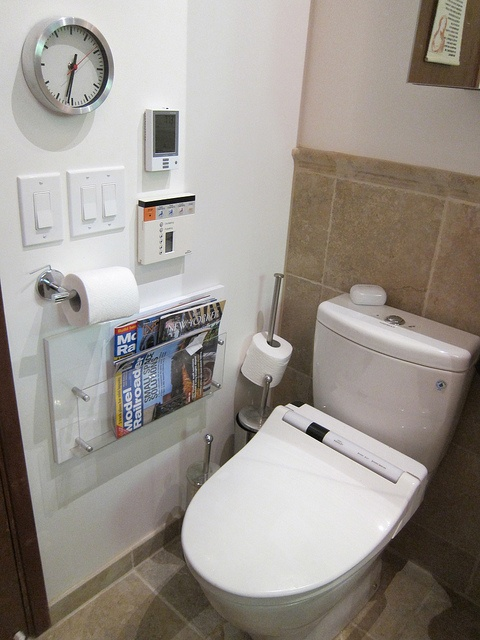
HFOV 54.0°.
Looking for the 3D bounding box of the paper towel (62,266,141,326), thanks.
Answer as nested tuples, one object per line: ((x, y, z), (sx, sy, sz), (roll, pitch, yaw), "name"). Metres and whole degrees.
((-0.234, -0.034, 0.779), (0.104, 0.110, 0.114), (-17, 30, -41), "paper towel")

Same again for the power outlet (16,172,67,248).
((-0.296, -0.163, 0.705), (0.023, 0.108, 0.070), (15, 24, 32), "power outlet")

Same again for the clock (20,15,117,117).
((-0.235, -0.344, 0.633), (0.029, 0.137, 0.114), (14, 26, 34), "clock")

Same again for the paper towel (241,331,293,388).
((0.072, 0.104, 1.248), (0.093, 0.107, 0.103), (13, 33, -4), "paper towel")
